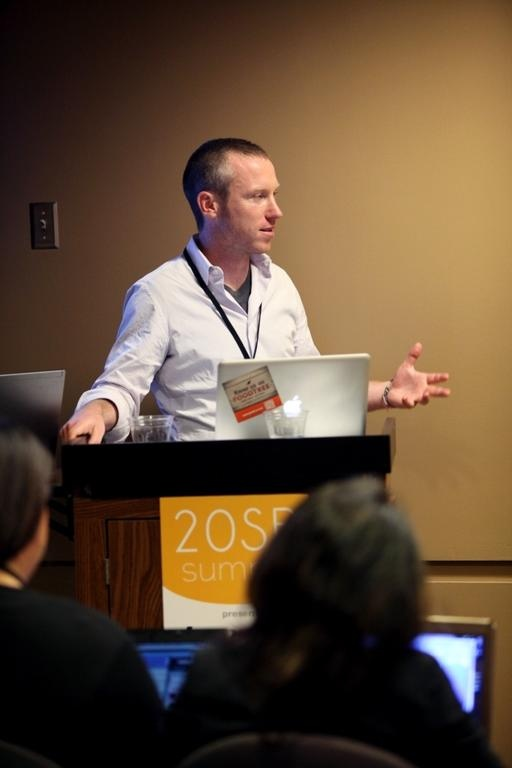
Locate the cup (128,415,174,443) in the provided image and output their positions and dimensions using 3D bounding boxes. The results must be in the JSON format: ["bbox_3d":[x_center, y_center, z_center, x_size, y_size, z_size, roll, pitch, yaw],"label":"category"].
[{"bbox_3d":[-0.225,0.094,1.477,0.066,0.051,0.064,-2,-2,0],"label":"cup"}]

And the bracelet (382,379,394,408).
[{"bbox_3d":[0.345,0.029,1.818,0.028,0.063,0.045,5,31,4],"label":"bracelet"}]

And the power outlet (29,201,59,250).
[{"bbox_3d":[-0.895,-0.657,2.883,0.116,0.201,0.061,0,15,-12],"label":"power outlet"}]

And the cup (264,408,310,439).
[{"bbox_3d":[0.062,0.085,1.407,0.067,0.044,0.062,-3,-5,0],"label":"cup"}]
